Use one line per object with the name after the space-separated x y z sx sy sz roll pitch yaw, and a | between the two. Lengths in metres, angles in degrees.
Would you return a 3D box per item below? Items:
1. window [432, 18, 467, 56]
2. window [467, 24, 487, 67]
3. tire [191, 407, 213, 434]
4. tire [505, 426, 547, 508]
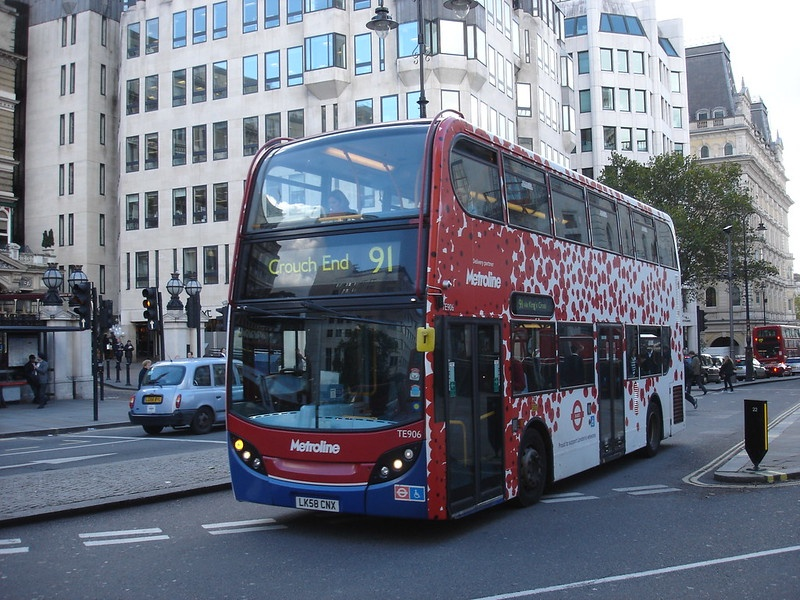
2.806 -14.591 45.354 1.831 2.496 0.167 2 -10 -20 | window
4.252 -14.273 45.770 0.330 1.970 2.468 -3 -4 26 | window
-5.446 3.299 22.479 0.220 0.750 0.668 -3 -5 28 | tire
1.894 2.545 12.495 0.393 1.248 1.113 -2 -7 29 | tire
